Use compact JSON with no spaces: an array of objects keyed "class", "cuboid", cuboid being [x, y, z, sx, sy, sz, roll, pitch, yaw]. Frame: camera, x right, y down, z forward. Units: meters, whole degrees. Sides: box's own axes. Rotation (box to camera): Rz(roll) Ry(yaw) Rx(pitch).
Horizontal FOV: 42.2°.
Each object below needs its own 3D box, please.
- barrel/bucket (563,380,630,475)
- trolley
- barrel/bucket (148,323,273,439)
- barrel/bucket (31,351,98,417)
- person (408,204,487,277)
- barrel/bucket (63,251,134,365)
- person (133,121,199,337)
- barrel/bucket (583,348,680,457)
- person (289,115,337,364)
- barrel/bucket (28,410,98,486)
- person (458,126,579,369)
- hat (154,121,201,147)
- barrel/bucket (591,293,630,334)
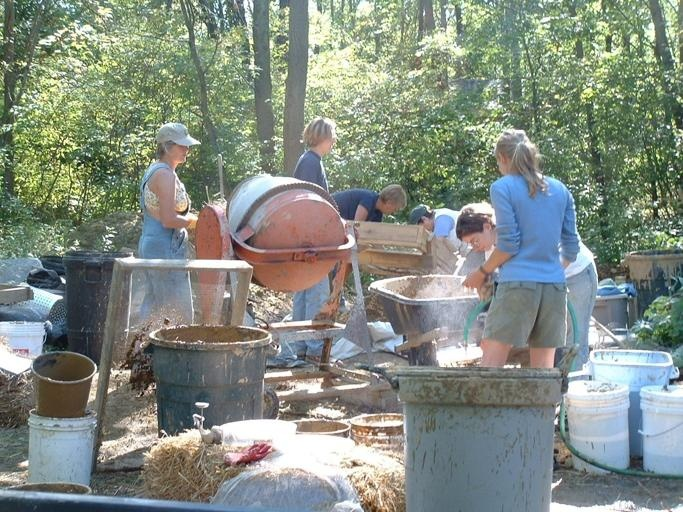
[{"class":"barrel/bucket","cuboid":[2.417,1.561,8.473,0.687,0.840,0.697,-2,2,0]},{"class":"trolley","cuboid":[0.837,0.866,9.621,1.464,0.728,1.201,-9,37,16]},{"class":"barrel/bucket","cuboid":[-1.198,1.091,8.322,1.226,1.118,1.308,2,15,-1]},{"class":"barrel/bucket","cuboid":[-2.548,1.168,7.950,0.469,0.431,0.494,9,19,-3]},{"class":"person","cuboid":[1.328,-0.194,11.535,0.873,0.768,1.488,7,-2,29]},{"class":"barrel/bucket","cuboid":[-2.867,0.583,10.648,0.785,1.414,0.854,5,9,-1]},{"class":"person","cuboid":[-1.893,-0.337,9.437,0.722,2.030,0.895,-1,0,-14]},{"class":"barrel/bucket","cuboid":[2.874,1.464,9.065,0.970,1.112,0.907,0,2,0]},{"class":"person","cuboid":[-0.319,-0.200,10.206,0.541,2.659,0.858,-1,0,-3]},{"class":"barrel/bucket","cuboid":[-2.500,1.645,7.935,0.560,0.698,0.610,2,-5,0]},{"class":"person","cuboid":[1.675,0.312,8.343,0.930,2.942,0.970,3,-3,3]},{"class":"hat","cuboid":[-1.745,-1.293,9.447,0.385,0.226,0.267,-1,9,1]},{"class":"barrel/bucket","cuboid":[4.091,0.863,13.435,0.597,0.695,0.654,-1,2,0]}]
